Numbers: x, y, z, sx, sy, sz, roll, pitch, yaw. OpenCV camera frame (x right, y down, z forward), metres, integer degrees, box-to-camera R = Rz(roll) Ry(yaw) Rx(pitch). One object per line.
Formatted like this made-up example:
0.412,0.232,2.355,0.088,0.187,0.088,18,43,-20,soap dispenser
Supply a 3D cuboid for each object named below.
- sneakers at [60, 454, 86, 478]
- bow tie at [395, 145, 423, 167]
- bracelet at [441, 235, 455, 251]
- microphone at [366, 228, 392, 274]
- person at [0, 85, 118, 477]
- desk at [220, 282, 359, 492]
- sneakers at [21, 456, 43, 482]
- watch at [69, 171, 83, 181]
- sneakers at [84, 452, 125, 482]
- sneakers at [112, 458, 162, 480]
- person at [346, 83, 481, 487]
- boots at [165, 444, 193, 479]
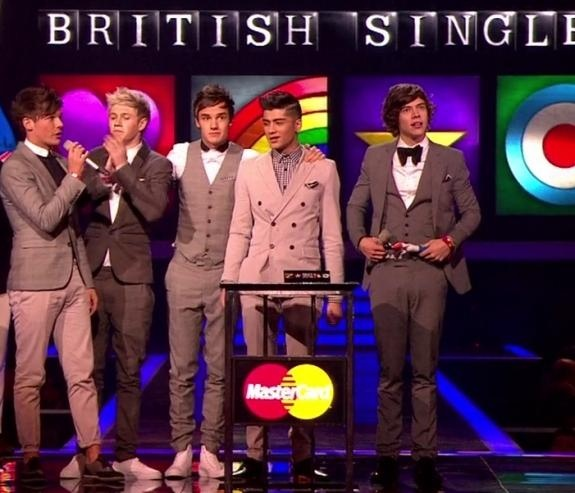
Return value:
-1.205,1.233,4.206,0.086,0.143,0.056,1,-26,14,sneakers
0.714,-0.518,4.369,0.128,0.114,0.018,0,-5,16,bow tie
0.911,-0.017,4.232,0.078,0.080,0.062,1,4,12,bracelet
0.523,0.014,4.271,0.144,0.203,0.080,41,23,33,microphone
-1.335,0.178,4.251,0.514,2.168,0.622,-2,5,-23,person
0.012,0.729,4.026,0.652,1.122,0.649,0,4,0,desk
-1.402,1.205,4.127,0.124,0.113,0.114,-1,4,-18,sneakers
-1.173,-0.390,4.162,0.047,0.033,0.014,34,-16,-13,watch
-1.022,1.224,4.192,0.235,0.100,0.109,1,-9,20,sneakers
-0.856,1.256,4.307,0.285,0.118,0.116,5,-13,10,sneakers
0.744,0.165,4.296,0.746,2.191,0.674,-1,4,-6,person
-0.610,1.208,4.264,0.085,0.163,0.230,0,-3,22,boots
